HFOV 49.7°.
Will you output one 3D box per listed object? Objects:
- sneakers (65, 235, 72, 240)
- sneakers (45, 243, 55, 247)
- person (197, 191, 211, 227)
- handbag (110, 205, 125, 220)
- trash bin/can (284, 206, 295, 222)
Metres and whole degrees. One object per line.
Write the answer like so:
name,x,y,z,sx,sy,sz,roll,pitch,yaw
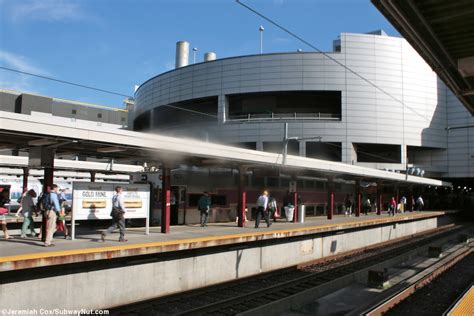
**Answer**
sneakers,-8.747,4.093,26.488,0.576,0.219,0.218,-3,-3,35
sneakers,-9.033,4.179,24.675,0.433,0.170,0.200,0,-1,-7
person,-2.085,3.194,31.416,0.655,2.202,1.316,3,9,-4
handbag,-6.085,2.785,25.937,0.742,0.538,1.035,8,-6,23
trash bin/can,3.511,3.765,34.590,0.617,1.095,0.403,4,9,0
